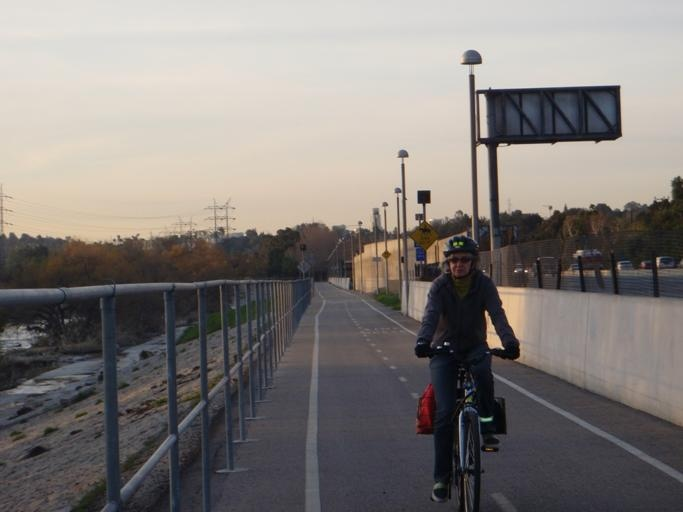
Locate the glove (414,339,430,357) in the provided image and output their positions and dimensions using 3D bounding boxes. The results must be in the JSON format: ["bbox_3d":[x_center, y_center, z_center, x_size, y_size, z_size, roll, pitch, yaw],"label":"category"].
[{"bbox_3d":[0.750,0.863,7.227,0.133,0.155,0.230,-2,-2,6],"label":"glove"}]
